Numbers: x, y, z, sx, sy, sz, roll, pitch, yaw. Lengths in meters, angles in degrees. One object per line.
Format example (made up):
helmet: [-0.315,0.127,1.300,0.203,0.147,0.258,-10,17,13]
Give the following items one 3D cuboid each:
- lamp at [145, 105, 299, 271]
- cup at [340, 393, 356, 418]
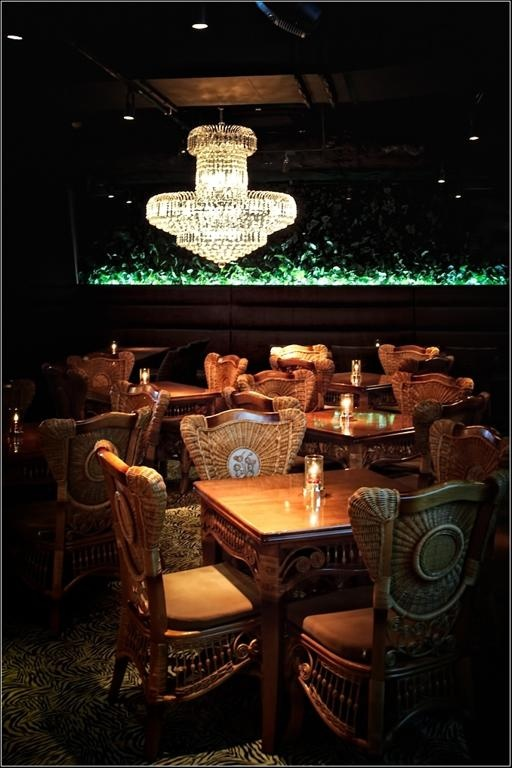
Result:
lamp: [-0.378,-1.542,4.845,1.161,1.101,1.060,-5,9,-30]
cup: [0.561,0.136,3.638,0.122,0.207,0.123,-1,-2,0]
